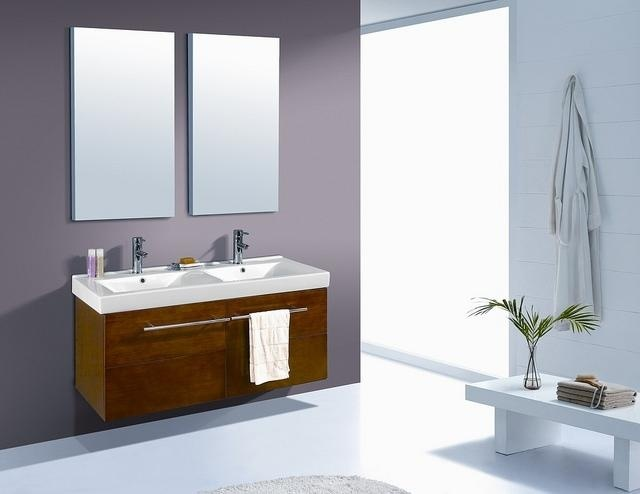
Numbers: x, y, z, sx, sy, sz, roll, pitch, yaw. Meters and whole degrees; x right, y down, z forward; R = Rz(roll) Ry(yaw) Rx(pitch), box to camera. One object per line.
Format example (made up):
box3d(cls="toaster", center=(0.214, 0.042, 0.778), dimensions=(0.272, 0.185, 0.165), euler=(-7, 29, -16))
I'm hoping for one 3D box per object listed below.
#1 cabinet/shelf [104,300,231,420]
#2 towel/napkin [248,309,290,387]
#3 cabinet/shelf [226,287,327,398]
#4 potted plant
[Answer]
box3d(cls="cabinet/shelf", center=(-0.961, 0.640, 3.272), dimensions=(0.751, 0.634, 0.498), euler=(-3, 3, -32))
box3d(cls="towel/napkin", center=(-0.306, 0.637, 3.383), dimensions=(0.290, 0.468, 0.079), euler=(-3, 6, -30))
box3d(cls="cabinet/shelf", center=(-0.283, 0.577, 3.412), dimensions=(0.753, 0.651, 0.244), euler=(0, 1, -36))
box3d(cls="potted plant", center=(1.361, 0.598, 3.375), dimensions=(0.573, 0.496, 0.672), euler=(20, -2, -32))
